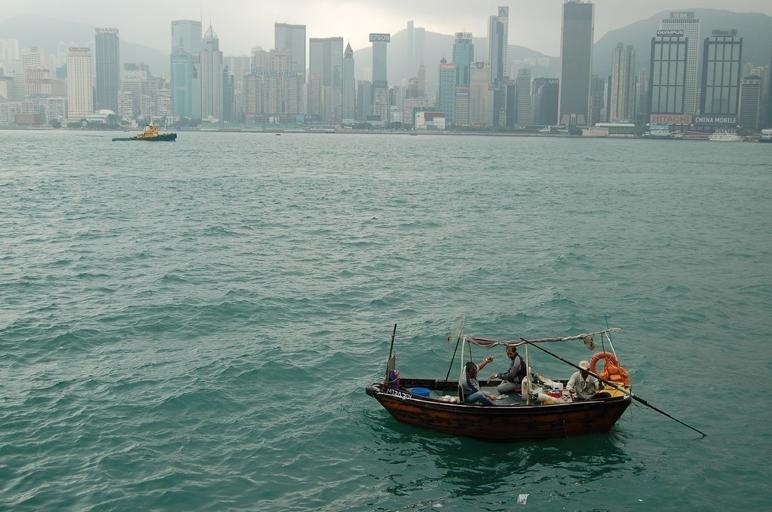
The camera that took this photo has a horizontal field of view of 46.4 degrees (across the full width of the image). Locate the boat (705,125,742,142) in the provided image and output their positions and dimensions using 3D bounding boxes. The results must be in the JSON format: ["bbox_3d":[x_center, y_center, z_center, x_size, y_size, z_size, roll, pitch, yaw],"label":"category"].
[{"bbox_3d":[141.939,-51.385,378.258,13.684,4.008,11.787,-4,8,-2],"label":"boat"}]
